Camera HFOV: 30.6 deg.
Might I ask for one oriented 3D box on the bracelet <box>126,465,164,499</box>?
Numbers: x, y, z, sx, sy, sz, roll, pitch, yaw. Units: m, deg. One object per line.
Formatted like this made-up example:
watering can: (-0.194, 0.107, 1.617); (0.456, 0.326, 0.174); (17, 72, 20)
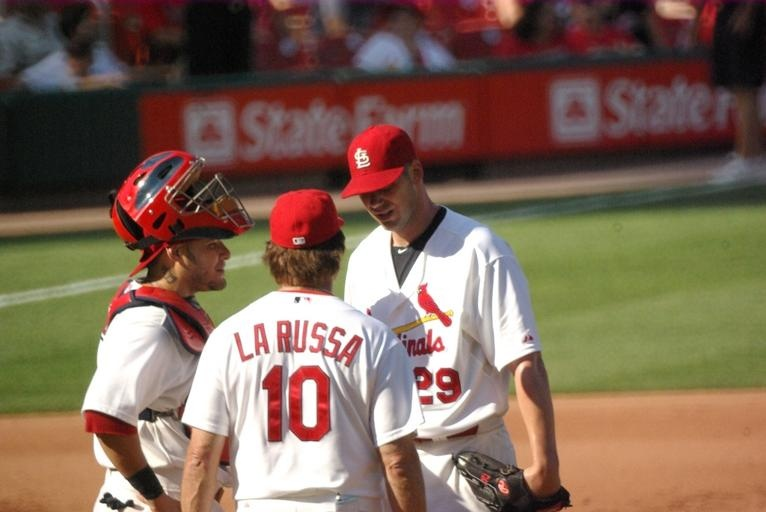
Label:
bracelet: (-2.072, 2.020, 12.403); (0.272, 0.297, 0.293); (-41, 26, 10)
